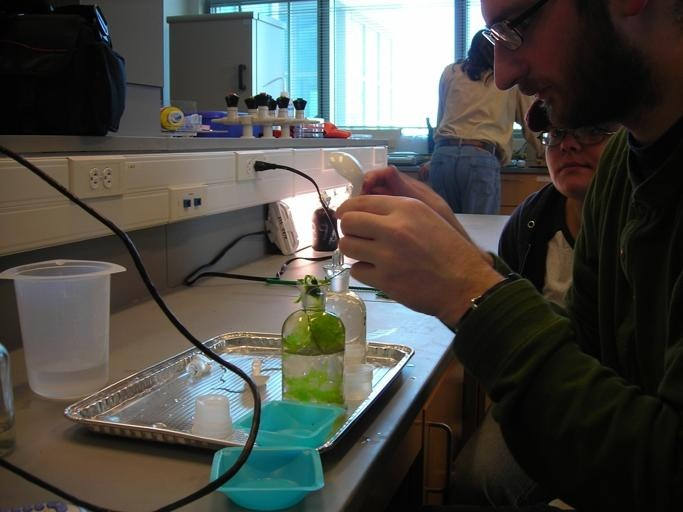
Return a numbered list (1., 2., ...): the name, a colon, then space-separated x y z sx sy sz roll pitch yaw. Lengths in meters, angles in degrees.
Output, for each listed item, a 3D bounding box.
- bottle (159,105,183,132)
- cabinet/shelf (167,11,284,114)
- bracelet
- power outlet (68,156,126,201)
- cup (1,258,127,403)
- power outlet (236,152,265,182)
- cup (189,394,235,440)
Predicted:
1. bottle: -0.609 -0.495 1.893 0.077 0.087 0.160 -1 14 -16
2. cabinet/shelf: -0.951 -1.634 4.444 0.980 0.777 0.608 -2 14 -18
3. bracelet: 0.203 0.069 0.794 0.024 0.087 0.088 43 43 16
4. power outlet: -0.550 -0.179 1.188 0.014 0.096 0.156 7 14 20
5. cup: -0.485 0.124 1.045 0.231 0.250 0.244 1 3 0
6. power outlet: -0.307 -0.304 1.764 0.010 0.095 0.165 7 14 21
7. cup: -0.195 0.246 0.797 0.054 0.046 0.056 4 2 0
